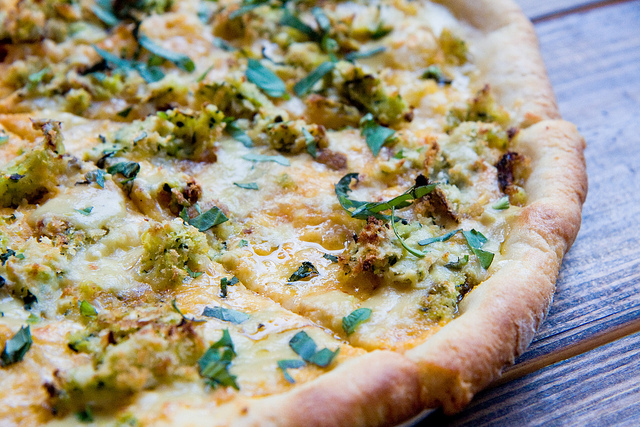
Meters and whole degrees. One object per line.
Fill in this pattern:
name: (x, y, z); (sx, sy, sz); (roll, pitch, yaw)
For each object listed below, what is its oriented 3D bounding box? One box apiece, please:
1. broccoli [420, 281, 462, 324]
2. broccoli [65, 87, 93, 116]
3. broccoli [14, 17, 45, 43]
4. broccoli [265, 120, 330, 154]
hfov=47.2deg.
broccoli: (0.793, 0.567, 4.816); (0.198, 0.071, 0.299); (35, 61, 17)
broccoli: (-1.896, -0.881, 5.736); (0.196, 0.203, 0.065); (-1, 27, -8)
broccoli: (-2.565, -1.599, 6.397); (0.205, 0.081, 0.205); (-5, 53, -5)
broccoli: (-0.174, -0.591, 5.440); (0.351, 0.136, 0.257); (-5, 45, -11)
